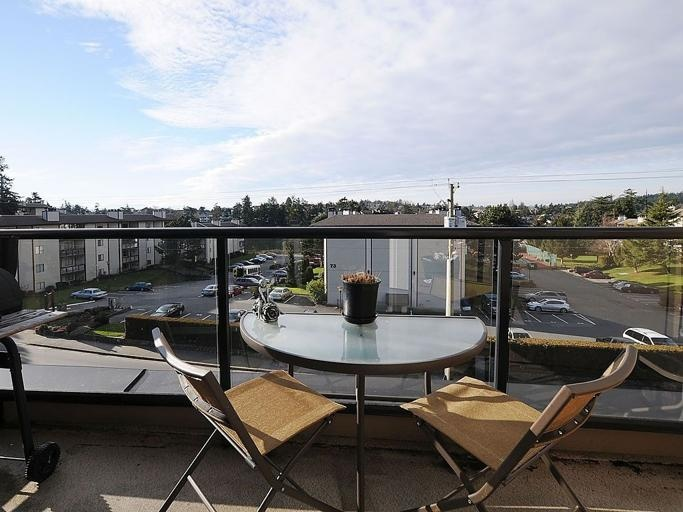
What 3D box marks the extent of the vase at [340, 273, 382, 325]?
[{"bbox_3d":[0.090,0.216,2.482,0.271,0.253,0.255,0,2,5],"label":"vase"}]
